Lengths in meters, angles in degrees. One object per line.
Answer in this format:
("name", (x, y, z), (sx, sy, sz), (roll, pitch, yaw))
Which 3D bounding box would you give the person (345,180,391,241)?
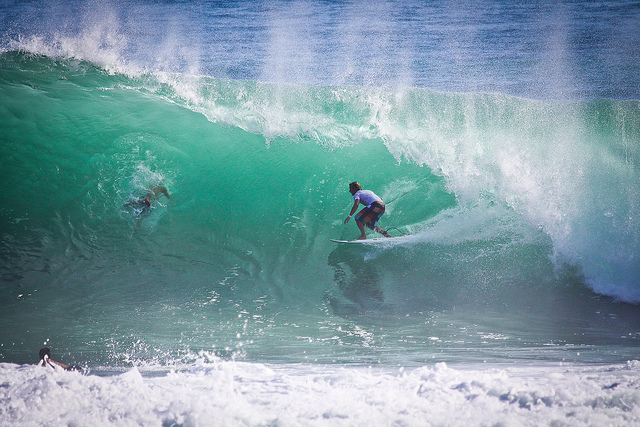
("person", (1.281, -0.017, 17.187), (1.111, 1.378, 1.087), (-6, 37, -10))

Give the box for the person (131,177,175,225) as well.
("person", (-4.505, -0.394, 17.547), (1.257, 0.812, 0.411), (-50, 26, -19))
